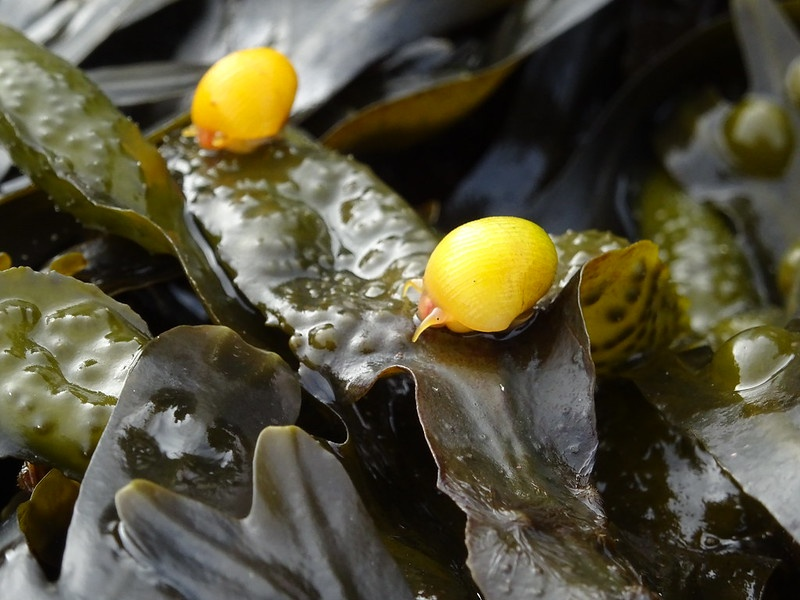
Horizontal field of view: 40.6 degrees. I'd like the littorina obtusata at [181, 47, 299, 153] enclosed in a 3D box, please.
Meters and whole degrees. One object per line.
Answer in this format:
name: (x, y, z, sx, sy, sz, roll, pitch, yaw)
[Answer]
littorina obtusata: (-0.183, -0.231, 1.261, 0.115, 0.121, 0.041, 8, 16, -14)
